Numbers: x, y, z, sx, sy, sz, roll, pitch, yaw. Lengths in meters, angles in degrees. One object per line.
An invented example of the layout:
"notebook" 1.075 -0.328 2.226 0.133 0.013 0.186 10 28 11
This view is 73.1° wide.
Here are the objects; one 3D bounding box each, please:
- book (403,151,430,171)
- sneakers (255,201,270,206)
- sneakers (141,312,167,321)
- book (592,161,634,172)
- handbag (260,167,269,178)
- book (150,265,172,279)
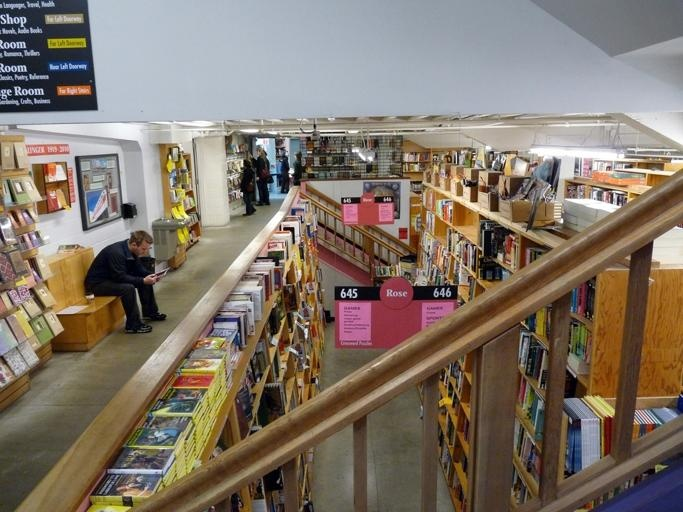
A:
"book" 2.735 -3.483 16.934 0.945 0.666 0.605 3 18 6
"sneakers" -2.988 -1.945 17.295 0.583 0.249 0.188 1 13 3
"sneakers" -2.807 0.926 6.942 0.356 0.173 0.136 -3 6 -5
"book" 6.378 -2.138 10.974 0.862 0.359 0.977 4 10 37
"handbag" -2.660 -2.847 15.711 0.311 0.342 0.177 -4 35 -14
"book" -3.076 0.276 7.815 0.404 0.044 0.542 -27 -6 -7
